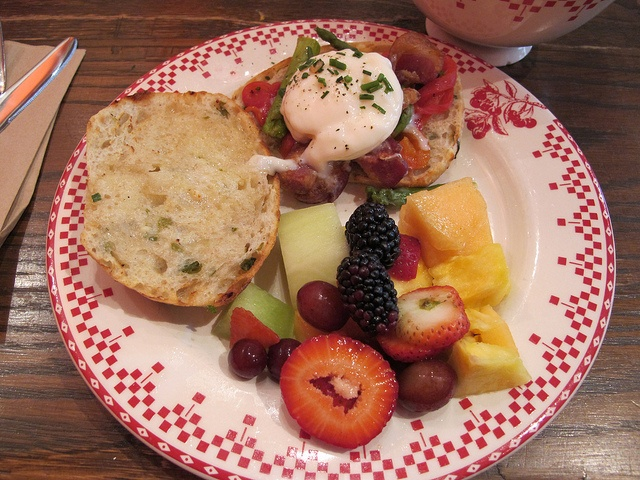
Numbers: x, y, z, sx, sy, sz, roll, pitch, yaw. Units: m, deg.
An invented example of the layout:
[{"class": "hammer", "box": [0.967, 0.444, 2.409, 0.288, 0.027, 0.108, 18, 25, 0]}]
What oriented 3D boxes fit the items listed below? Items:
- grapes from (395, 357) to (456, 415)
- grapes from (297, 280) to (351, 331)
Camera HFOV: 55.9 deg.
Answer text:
[{"class": "grapes", "box": [0.636, 0.874, 3.631, 0.369, 0.155, 0.292, -20, 81, -7]}, {"class": "grapes", "box": [0.007, 0.423, 3.826, 0.282, 0.114, 0.343, -21, 81, -7]}]
